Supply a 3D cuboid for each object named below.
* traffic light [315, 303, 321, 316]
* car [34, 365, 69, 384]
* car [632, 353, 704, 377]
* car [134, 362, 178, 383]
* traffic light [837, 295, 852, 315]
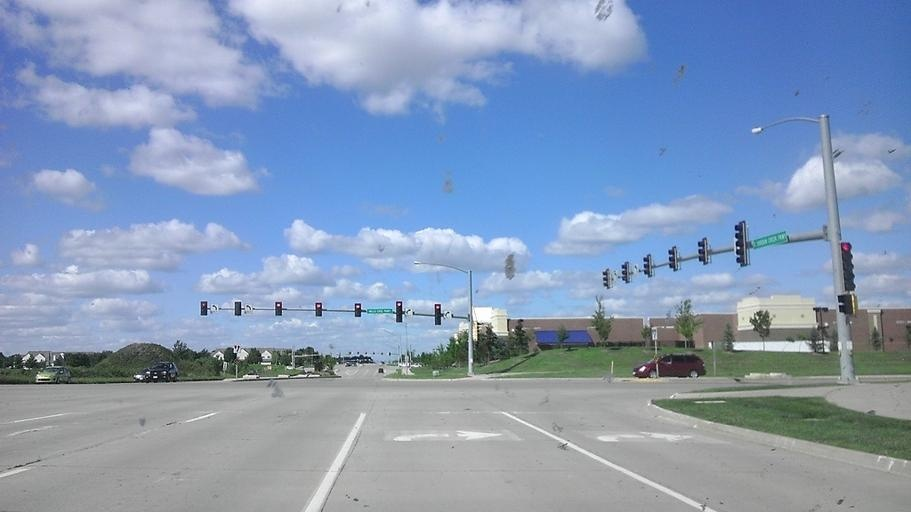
[{"bbox_3d":[-13.120,5.090,68.203,0.432,0.993,0.926,0,-2,5],"label":"traffic light"},{"bbox_3d":[-33.708,9.929,60.224,1.642,1.060,2.449,1,-17,-11],"label":"car"},{"bbox_3d":[16.905,8.693,56.508,4.425,1.492,2.294,3,-9,-7],"label":"car"},{"bbox_3d":[-26.552,10.488,64.405,1.692,1.201,2.813,1,-23,-11],"label":"car"},{"bbox_3d":[19.929,2.415,36.526,0.837,1.177,0.601,-1,-2,28],"label":"traffic light"}]
